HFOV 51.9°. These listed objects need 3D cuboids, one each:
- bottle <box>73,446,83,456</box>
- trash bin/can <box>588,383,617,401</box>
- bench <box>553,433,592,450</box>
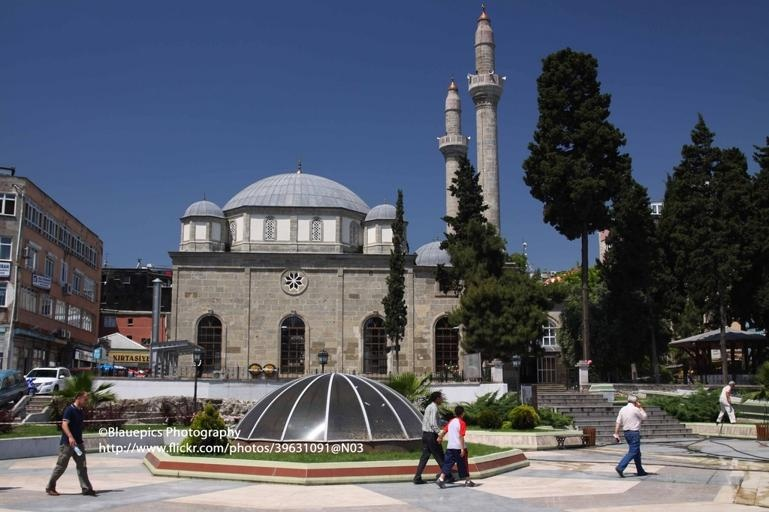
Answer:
[{"bbox_3d":[-10.236,6.487,26.421,0.313,0.296,0.100,-2,-13,4],"label":"bottle"},{"bbox_3d":[13.397,8.239,48.719,1.488,0.946,1.119,1,-7,-5],"label":"trash bin/can"},{"bbox_3d":[8.990,8.634,37.279,2.353,0.785,0.547,10,-17,-37],"label":"bench"}]
